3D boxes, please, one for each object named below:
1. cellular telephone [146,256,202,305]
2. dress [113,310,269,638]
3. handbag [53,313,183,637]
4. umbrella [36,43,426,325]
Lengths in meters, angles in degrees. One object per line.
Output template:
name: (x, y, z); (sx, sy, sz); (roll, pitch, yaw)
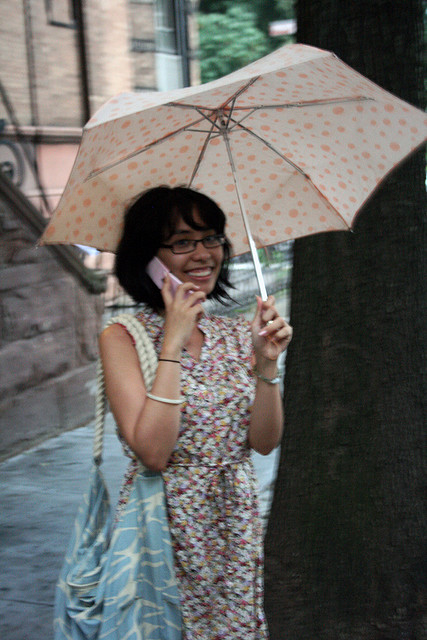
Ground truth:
cellular telephone: (-0.107, -0.112, 1.777); (0.089, 0.110, 0.201); (-4, 14, -27)
dress: (0.004, 0.413, 1.806); (0.288, 0.782, 0.460); (2, 14, -4)
handbag: (-0.253, 0.401, 1.674); (0.318, 0.790, 0.354); (-1, 14, -14)
umbrella: (0.068, -0.449, 1.932); (1.067, 0.571, 0.580); (-1, 13, -14)
